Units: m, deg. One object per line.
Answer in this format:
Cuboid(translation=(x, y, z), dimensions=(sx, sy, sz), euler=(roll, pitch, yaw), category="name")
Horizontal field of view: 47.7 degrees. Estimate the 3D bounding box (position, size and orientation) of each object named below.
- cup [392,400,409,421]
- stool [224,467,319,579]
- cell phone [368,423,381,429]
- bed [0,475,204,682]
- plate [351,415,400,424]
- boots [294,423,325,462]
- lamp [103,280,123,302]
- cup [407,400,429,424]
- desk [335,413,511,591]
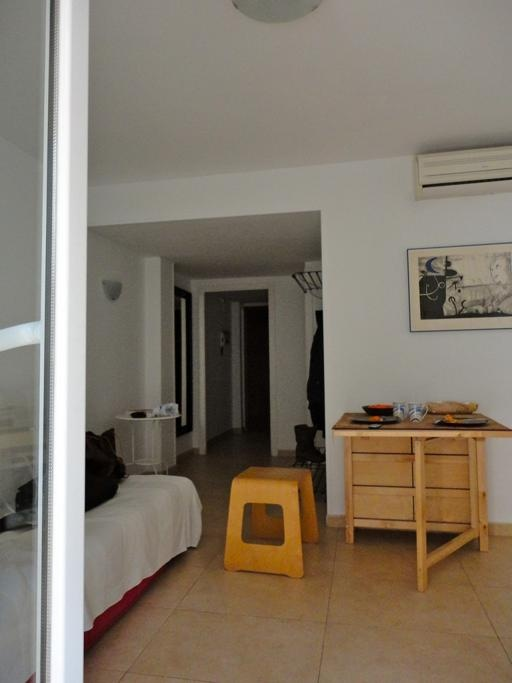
Cuboid(translation=(0.790, 0.378, 3.157), dimensions=(0.081, 0.111, 0.089), euler=(2, -1, 0), category="cup")
Cuboid(translation=(0.094, 0.979, 3.177), dimensions=(0.443, 0.517, 0.500), euler=(-2, -2, 12), category="stool")
Cuboid(translation=(0.566, 0.409, 2.768), dimensions=(0.054, 0.017, 0.079), euler=(-1, -2, 12), category="cell phone")
Cuboid(translation=(-0.500, 0.744, 2.190), dimensions=(0.437, 0.260, 0.853), euler=(-4, 2, 13), category="bed")
Cuboid(translation=(0.599, 0.407, 2.913), dimensions=(0.240, 0.032, 0.250), euler=(-1, -2, 9), category="plate")
Cuboid(translation=(0.405, 0.840, 4.762), dimensions=(0.349, 0.409, 0.196), euler=(2, -6, -13), category="boots")
Cuboid(translation=(-1.186, -0.423, 4.751), dimensions=(0.028, 0.151, 0.138), euler=(-1, -1, 16), category="lamp")
Cuboid(translation=(0.879, 0.372, 3.080), dimensions=(0.125, 0.141, 0.089), euler=(2, -6, -9), category="cup")
Cuboid(translation=(0.859, 0.808, 3.188), dimensions=(0.843, 0.815, 1.026), euler=(-1, -1, 8), category="desk")
